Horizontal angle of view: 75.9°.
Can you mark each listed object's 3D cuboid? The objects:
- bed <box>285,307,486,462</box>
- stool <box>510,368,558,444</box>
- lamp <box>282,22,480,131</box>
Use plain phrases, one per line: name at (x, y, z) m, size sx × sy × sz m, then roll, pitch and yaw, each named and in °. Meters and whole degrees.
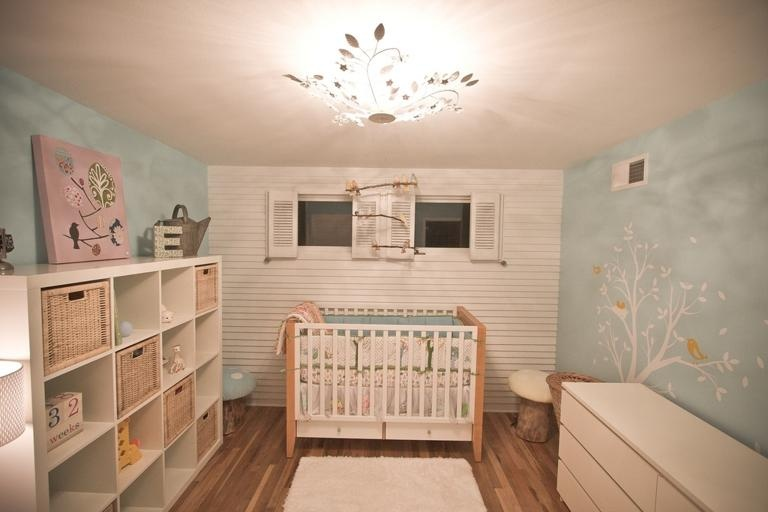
bed at (-0.013, 0.768, 4.844) m, size 2.060 × 1.390 × 1.217 m, roll 0°, pitch 7°, yaw -1°
stool at (1.398, 1.443, 4.816) m, size 0.565 × 0.593 × 0.571 m, roll 0°, pitch 3°, yaw 1°
lamp at (0.001, -1.175, 3.326) m, size 1.230 × 0.350 × 0.729 m, roll 4°, pitch 1°, yaw -6°
